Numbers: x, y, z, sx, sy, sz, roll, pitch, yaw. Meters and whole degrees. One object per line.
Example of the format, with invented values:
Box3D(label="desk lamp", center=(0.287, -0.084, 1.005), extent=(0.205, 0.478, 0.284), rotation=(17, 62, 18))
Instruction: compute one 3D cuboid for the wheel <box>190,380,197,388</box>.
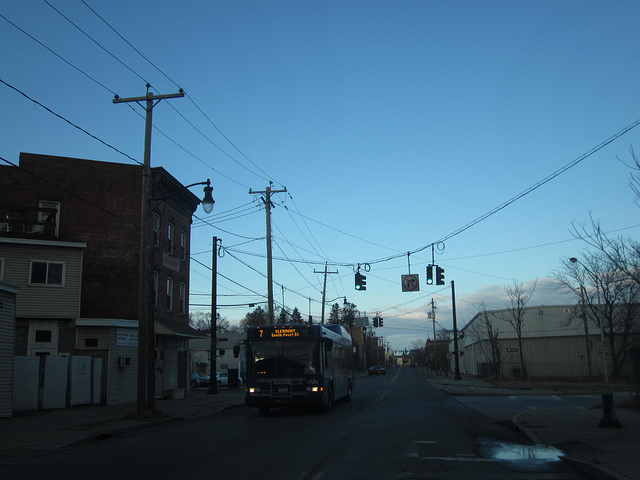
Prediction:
Box3D(label="wheel", center=(-12.348, 14.251, 59.246), extent=(0.541, 0.728, 1.742), rotation=(-1, -17, -12))

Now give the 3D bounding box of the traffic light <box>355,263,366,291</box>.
Box3D(label="traffic light", center=(2.431, 2.246, 36.474), extent=(0.480, 1.636, 1.289), rotation=(-4, -14, 5))

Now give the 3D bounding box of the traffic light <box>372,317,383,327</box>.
Box3D(label="traffic light", center=(6.311, 9.128, 65.967), extent=(0.857, 1.142, 2.663), rotation=(-5, -16, 5))

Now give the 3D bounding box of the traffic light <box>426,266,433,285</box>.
Box3D(label="traffic light", center=(6.204, 1.928, 33.956), extent=(0.231, 0.988, 1.226), rotation=(-5, -15, 8))

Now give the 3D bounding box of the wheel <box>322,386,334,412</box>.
Box3D(label="wheel", center=(0.347, 7.191, 27.017), extent=(0.407, 1.409, 1.277), rotation=(-3, -9, 8))
